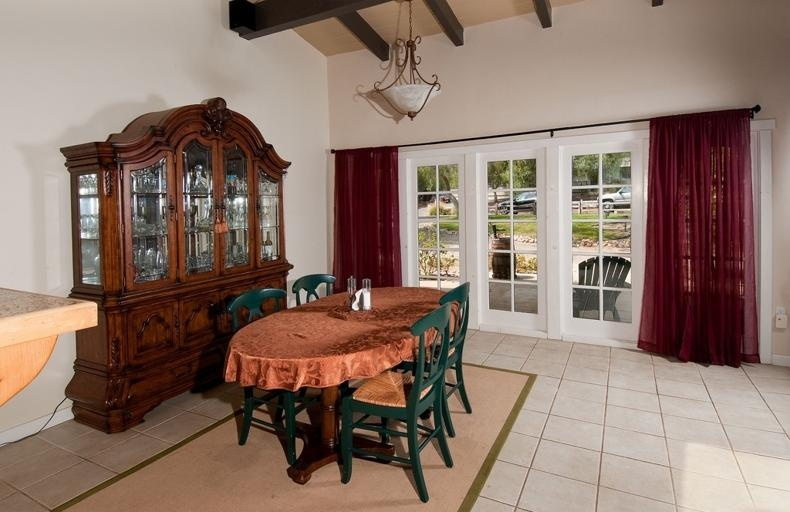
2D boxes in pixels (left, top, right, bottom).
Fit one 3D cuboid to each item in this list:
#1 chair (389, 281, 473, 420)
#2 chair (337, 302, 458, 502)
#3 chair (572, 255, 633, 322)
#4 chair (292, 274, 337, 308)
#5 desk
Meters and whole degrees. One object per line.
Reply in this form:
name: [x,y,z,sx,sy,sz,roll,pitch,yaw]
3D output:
chair: [0.267,0.876,4.553,0.817,1.301,0.891,0,5,11]
chair: [0.006,1.120,4.152,0.946,1.461,0.869,-2,5,6]
chair: [2.578,0.383,6.291,0.684,0.964,0.724,1,6,35]
chair: [-0.923,0.392,5.576,0.413,0.495,0.366,-6,7,-45]
desk: [-0.569,0.599,4.105,1.284,0.997,2.183,6,8,31]
